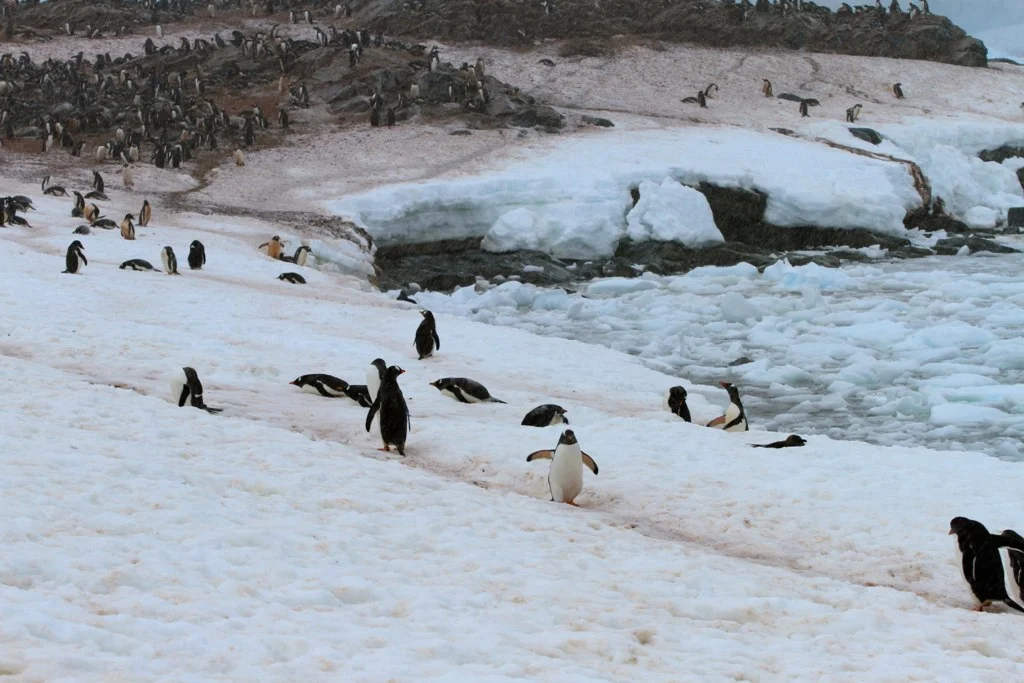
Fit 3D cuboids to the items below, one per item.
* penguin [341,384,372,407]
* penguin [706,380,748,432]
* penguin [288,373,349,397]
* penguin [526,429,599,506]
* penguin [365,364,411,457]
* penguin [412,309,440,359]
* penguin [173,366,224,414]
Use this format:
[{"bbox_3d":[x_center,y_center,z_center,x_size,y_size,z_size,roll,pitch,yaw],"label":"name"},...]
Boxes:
[{"bbox_3d":[-4.208,1.435,43.377,0.355,0.652,0.488,-9,-2,-31],"label":"penguin"},{"bbox_3d":[6.031,1.780,44.042,0.974,1.273,0.906,2,7,-28],"label":"penguin"},{"bbox_3d":[-5.196,1.157,43.683,1.665,0.404,0.586,14,12,11],"label":"penguin"},{"bbox_3d":[1.419,3.194,41.492,1.519,1.961,0.898,9,7,29],"label":"penguin"},{"bbox_3d":[-3.252,1.772,42.274,1.262,2.354,0.681,7,7,12],"label":"penguin"},{"bbox_3d":[-2.414,-0.229,46.014,0.811,1.360,1.194,5,6,-3],"label":"penguin"},{"bbox_3d":[-8.358,1.254,42.260,1.012,1.159,0.355,4,7,-10],"label":"penguin"}]
